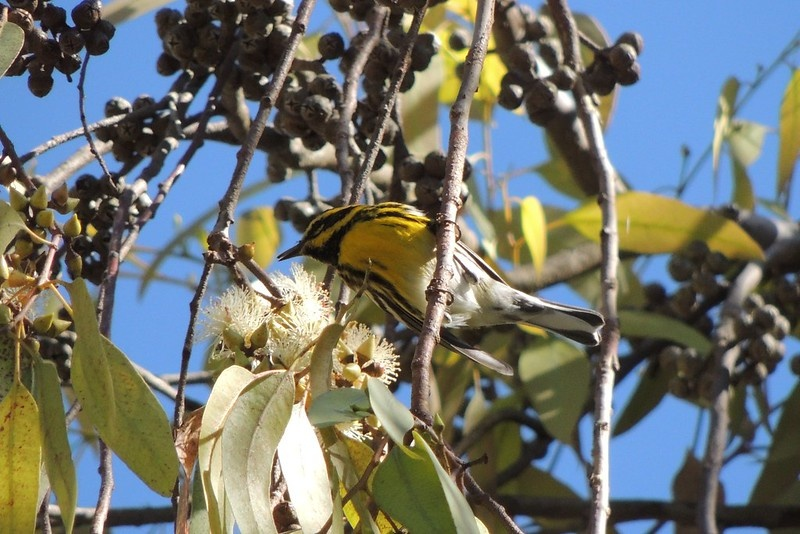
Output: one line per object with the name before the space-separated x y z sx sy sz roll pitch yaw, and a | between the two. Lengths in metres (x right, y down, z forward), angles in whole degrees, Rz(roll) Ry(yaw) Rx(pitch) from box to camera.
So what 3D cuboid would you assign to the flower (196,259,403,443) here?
flower | -0.195 0.150 3.476 0.376 0.297 0.196 14 -66 -2
